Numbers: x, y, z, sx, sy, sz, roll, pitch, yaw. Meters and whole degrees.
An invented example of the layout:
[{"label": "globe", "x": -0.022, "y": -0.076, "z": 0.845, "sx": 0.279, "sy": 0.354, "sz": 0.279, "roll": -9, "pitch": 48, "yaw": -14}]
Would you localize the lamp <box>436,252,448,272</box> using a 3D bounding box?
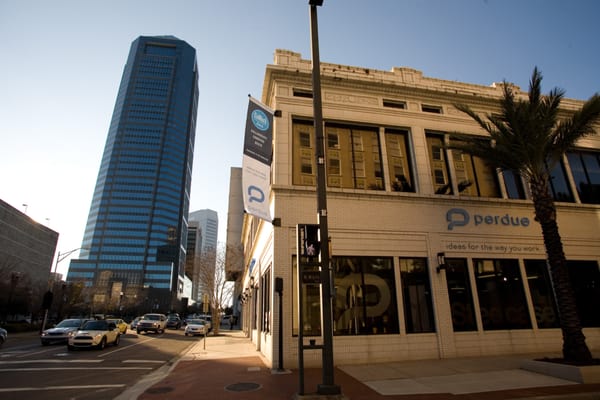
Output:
[{"label": "lamp", "x": 7.897, "y": 3.488, "z": 22.170, "sx": 0.810, "sy": 1.145, "sz": 0.397, "roll": 7, "pitch": -13, "yaw": -40}]
